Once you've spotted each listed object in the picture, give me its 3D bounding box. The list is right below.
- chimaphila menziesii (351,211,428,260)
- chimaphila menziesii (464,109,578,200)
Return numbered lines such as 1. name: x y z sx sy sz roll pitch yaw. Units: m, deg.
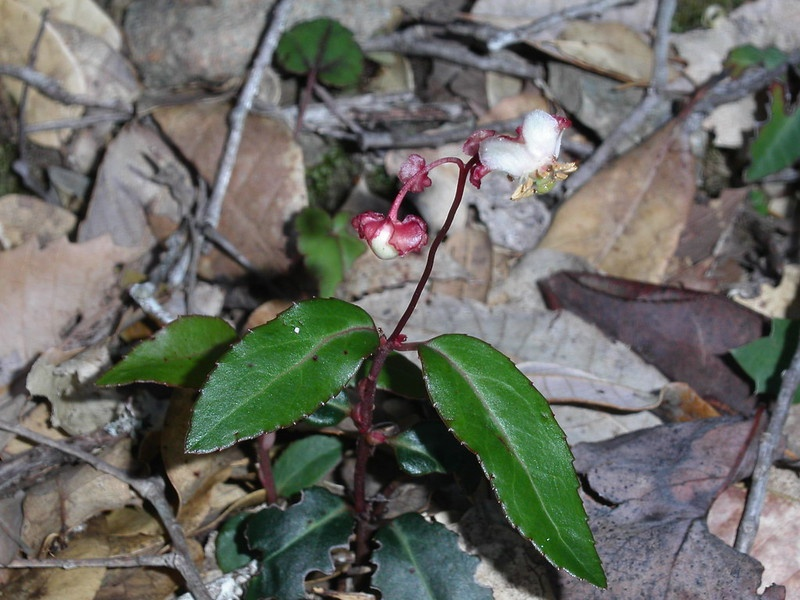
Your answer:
1. chimaphila menziesii: -0.034 -0.163 2.716 0.170 0.141 0.139 -6 21 -27
2. chimaphila menziesii: 0.333 -0.399 2.701 0.278 0.234 0.116 4 18 -1
